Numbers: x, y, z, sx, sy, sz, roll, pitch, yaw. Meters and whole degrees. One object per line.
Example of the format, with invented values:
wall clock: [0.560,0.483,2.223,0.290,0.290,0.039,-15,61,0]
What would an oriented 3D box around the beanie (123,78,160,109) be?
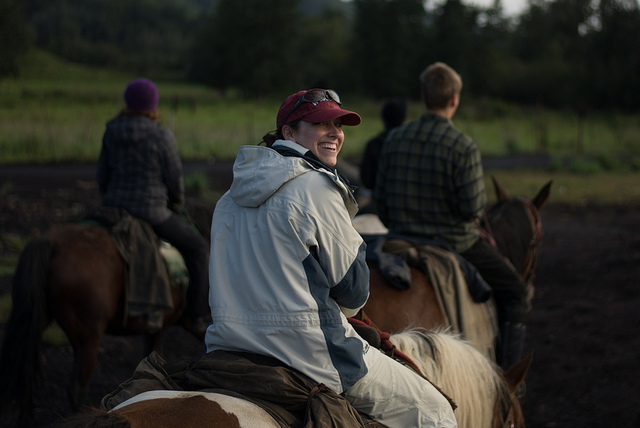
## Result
beanie: [-2.137,-1.477,16.003,0.430,0.385,0.418,-12,20,-35]

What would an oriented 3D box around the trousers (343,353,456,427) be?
trousers: [0.850,1.896,14.248,1.174,0.717,0.231,6,9,3]
